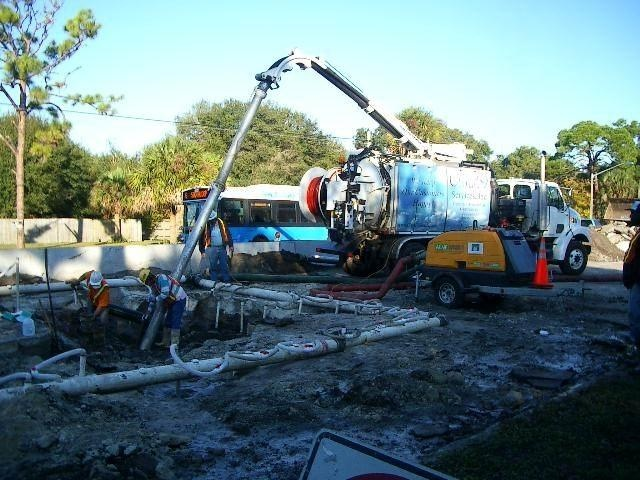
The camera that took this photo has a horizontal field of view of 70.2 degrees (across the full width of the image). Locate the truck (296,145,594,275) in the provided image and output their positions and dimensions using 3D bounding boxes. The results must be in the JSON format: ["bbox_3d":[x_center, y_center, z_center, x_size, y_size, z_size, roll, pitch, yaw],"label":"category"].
[{"bbox_3d":[5.529,-0.981,16.255,11.211,4.837,4.043,-5,6,-24],"label":"truck"}]

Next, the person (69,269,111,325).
[{"bbox_3d":[-4.910,1.166,9.759,0.533,1.078,1.287,-5,5,-34],"label":"person"}]

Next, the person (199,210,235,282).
[{"bbox_3d":[-2.911,0.243,12.775,0.897,2.317,0.705,-10,22,-17],"label":"person"}]

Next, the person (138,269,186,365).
[{"bbox_3d":[-3.102,1.357,9.124,0.783,1.695,1.071,-4,4,-19],"label":"person"}]

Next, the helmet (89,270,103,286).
[{"bbox_3d":[-4.557,0.792,9.345,0.195,0.296,0.292,0,5,32],"label":"helmet"}]
